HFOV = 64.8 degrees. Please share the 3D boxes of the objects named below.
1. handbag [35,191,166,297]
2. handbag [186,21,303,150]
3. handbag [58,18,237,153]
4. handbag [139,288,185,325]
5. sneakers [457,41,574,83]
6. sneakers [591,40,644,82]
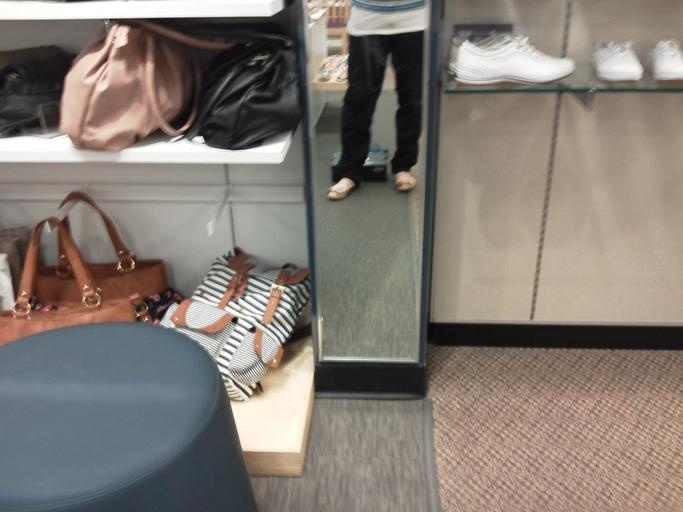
[{"bbox_3d":[-0.812,-0.054,1.900,0.425,0.430,0.302,2,19,-1],"label":"handbag"},{"bbox_3d":[-0.258,-0.441,1.411,0.273,0.295,0.162,10,15,27],"label":"handbag"},{"bbox_3d":[-0.510,-0.477,1.467,0.381,0.364,0.280,-11,44,-36],"label":"handbag"},{"bbox_3d":[-0.637,0.176,1.910,0.087,0.058,0.143,36,57,23],"label":"handbag"},{"bbox_3d":[0.453,-0.508,1.479,0.297,0.138,0.127,-1,35,2],"label":"sneakers"},{"bbox_3d":[0.738,-0.535,1.432,0.080,0.072,0.176,-2,32,14],"label":"sneakers"}]
